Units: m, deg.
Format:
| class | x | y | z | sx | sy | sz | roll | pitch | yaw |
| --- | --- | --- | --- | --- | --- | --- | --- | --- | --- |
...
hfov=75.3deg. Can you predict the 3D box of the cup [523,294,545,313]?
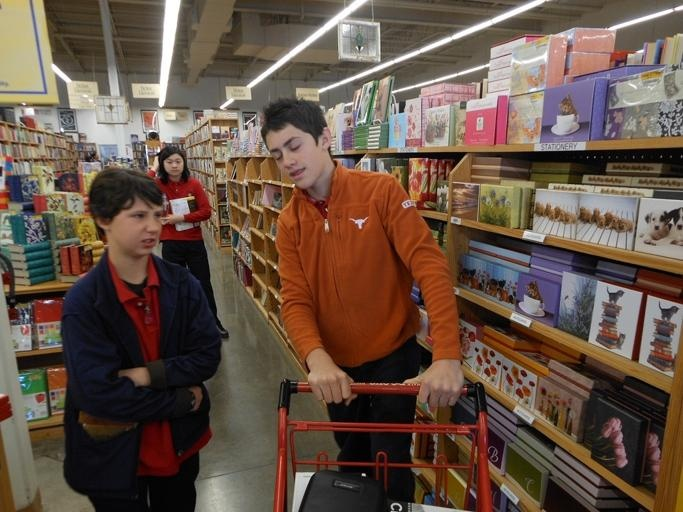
| class | x | y | z | sx | sy | sz | roll | pitch | yaw |
| --- | --- | --- | --- | --- | --- | --- | --- | --- | --- |
| cup | 1.008 | 0.248 | 2.328 | 0.083 | 0.068 | 0.071 | 8 | 3 | 26 |
